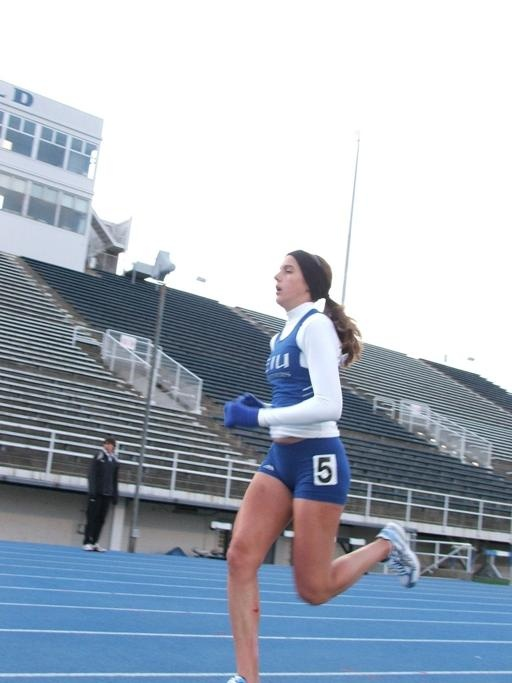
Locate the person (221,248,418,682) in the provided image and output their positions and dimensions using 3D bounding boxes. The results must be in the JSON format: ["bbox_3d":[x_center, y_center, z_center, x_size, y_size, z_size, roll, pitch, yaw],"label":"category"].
[{"bbox_3d":[0.144,0.325,1.922,0.401,1.212,0.651,6,-10,22],"label":"person"}]

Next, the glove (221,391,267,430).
[{"bbox_3d":[-0.046,0.194,1.842,0.167,0.096,0.110,-11,-7,28],"label":"glove"}]

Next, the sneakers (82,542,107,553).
[{"bbox_3d":[-2.099,2.620,8.462,0.368,0.137,0.122,3,-11,2],"label":"sneakers"}]

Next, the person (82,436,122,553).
[{"bbox_3d":[-2.033,1.969,8.568,0.427,1.435,0.344,12,-10,-8],"label":"person"}]
